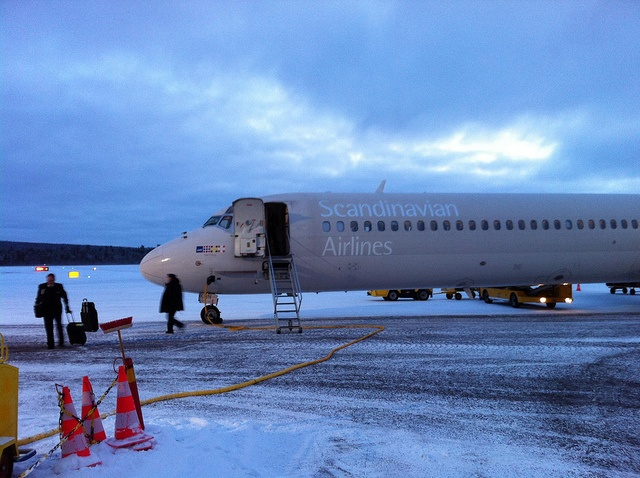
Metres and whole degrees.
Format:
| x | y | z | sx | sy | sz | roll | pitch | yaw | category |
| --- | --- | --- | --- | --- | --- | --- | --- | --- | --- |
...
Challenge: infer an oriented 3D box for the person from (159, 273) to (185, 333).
| x | y | z | sx | sy | sz | roll | pitch | yaw | category |
| --- | --- | --- | --- | --- | --- | --- | --- | --- | --- |
| -4.538 | 2.064 | 18.862 | 0.655 | 1.759 | 1.203 | -3 | 13 | -13 | person |

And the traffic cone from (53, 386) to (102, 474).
| x | y | z | sx | sy | sz | roll | pitch | yaw | category |
| --- | --- | --- | --- | --- | --- | --- | --- | --- | --- |
| -4.139 | 3.152 | 10.412 | 0.720 | 1.242 | 0.834 | -6 | 14 | -24 | traffic cone |

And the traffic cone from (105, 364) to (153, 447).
| x | y | z | sx | sy | sz | roll | pitch | yaw | category |
| --- | --- | --- | --- | --- | --- | --- | --- | --- | --- |
| -3.366 | 2.911 | 10.679 | 0.667 | 1.329 | 0.870 | -12 | 17 | -42 | traffic cone |
